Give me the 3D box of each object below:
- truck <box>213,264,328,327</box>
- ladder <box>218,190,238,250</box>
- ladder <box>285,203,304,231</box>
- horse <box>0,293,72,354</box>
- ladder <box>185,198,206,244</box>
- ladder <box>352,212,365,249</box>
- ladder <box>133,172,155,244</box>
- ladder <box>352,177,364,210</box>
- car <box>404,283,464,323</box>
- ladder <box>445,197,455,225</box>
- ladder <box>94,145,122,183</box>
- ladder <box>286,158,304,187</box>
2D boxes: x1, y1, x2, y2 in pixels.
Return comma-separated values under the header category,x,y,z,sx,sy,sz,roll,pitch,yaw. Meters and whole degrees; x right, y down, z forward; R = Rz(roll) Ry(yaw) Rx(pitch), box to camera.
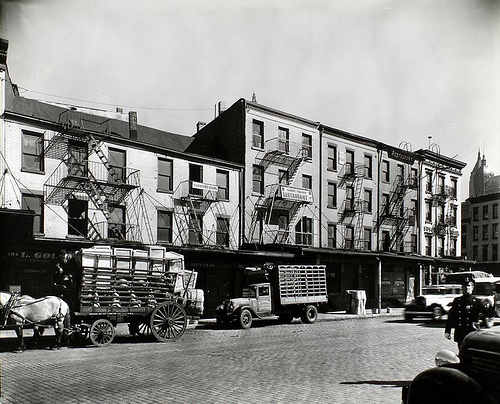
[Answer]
category,x,y,z,sx,sy,sz,roll,pitch,yaw
truck,1.536,4.547,41.359,4.778,2.559,1.777,-3,-4,-9
ladder,-1.343,1.134,50.105,0.347,3.566,0.318,-17,-9,-24
ladder,2.826,0.929,53.041,1.215,1.784,0.296,5,-12,-24
horse,-8.219,4.622,32.337,2.798,2.293,2.176,5,-13,-24
ladder,-3.125,1.119,48.610,0.404,2.320,1.315,-7,-13,34
ladder,7.381,1.868,57.287,0.913,2.381,0.272,7,-13,-31
ladder,-5.772,0.301,46.377,1.375,3.779,0.173,9,-14,-40
ladder,7.325,-0.611,57.423,0.882,2.196,0.289,3,-11,-17
car,9.986,5.085,44.247,4.185,2.026,2.247,10,-15,-43
ladder,15.636,0.666,65.790,0.442,2.243,1.713,-5,-13,27
ladder,-7.543,-1.968,45.212,0.629,1.640,2.125,-4,-13,20
ladder,2.882,-1.899,53.367,1.121,1.823,0.495,5,-12,-23
